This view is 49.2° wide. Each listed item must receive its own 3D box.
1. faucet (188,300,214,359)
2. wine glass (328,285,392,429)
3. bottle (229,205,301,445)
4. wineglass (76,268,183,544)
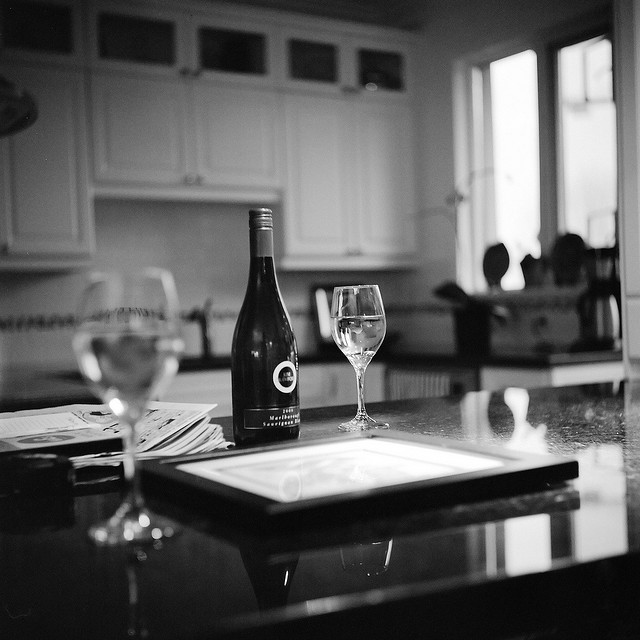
[{"bbox_3d":[-0.457,0.028,2.676,0.096,0.217,0.209,-1,0,-10],"label":"faucet"},{"bbox_3d":[0.044,0.039,0.763,0.066,0.151,0.211,-1,0,1],"label":"wine glass"},{"bbox_3d":[-0.048,0.001,0.653,0.070,0.219,0.211,-1,0,-7],"label":"bottle"},{"bbox_3d":[-0.142,0.041,0.521,0.065,0.161,0.346,-1,0,-16],"label":"wineglass"}]
